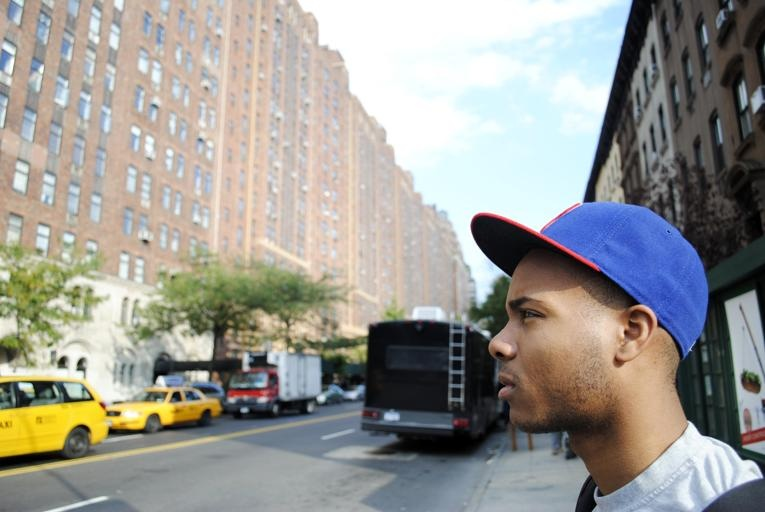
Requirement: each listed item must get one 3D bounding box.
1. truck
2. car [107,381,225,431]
[{"bbox_3d":[-6.094,7.731,36.248,2.680,3.223,6.001,-8,-24,21],"label":"truck"},{"bbox_3d":[-9.509,6.902,27.861,1.328,1.867,4.822,-1,-4,36],"label":"car"}]
